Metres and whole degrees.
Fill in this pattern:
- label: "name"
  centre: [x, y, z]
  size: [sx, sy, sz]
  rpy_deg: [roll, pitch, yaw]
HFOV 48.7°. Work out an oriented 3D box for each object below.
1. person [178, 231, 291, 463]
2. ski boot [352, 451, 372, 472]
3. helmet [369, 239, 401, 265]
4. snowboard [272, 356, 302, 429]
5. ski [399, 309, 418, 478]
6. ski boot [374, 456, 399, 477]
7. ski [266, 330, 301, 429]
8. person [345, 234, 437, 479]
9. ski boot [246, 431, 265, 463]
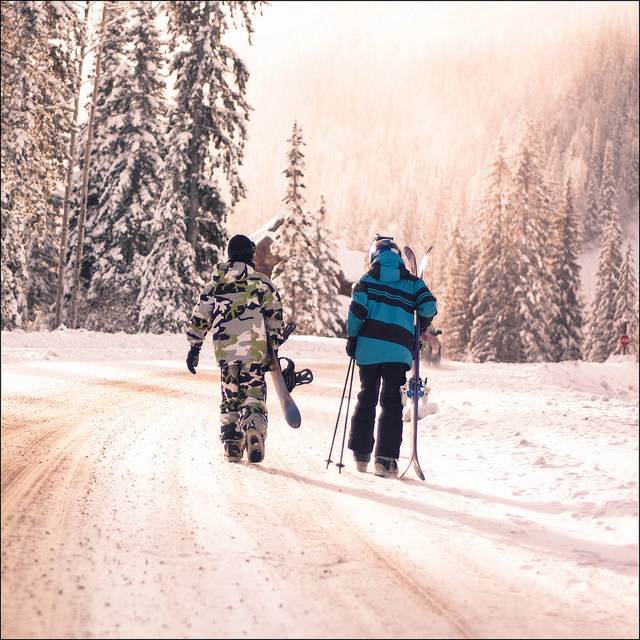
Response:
- label: "person"
  centre: [-0.797, 0.240, 7.052]
  size: [0.978, 2.299, 0.754]
  rpy_deg: [2, -2, -4]
- label: "ski boot"
  centre: [0.414, 1.436, 7.227]
  size: [0.168, 0.189, 0.193]
  rpy_deg: [2, -2, 2]
- label: "helmet"
  centre: [0.682, -0.739, 7.571]
  size: [0.340, 0.287, 0.339]
  rpy_deg: [2, -2, 5]
- label: "snowboard"
  centre: [-0.313, 0.713, 6.997]
  size: [0.250, 0.670, 0.711]
  rpy_deg: [3, -2, -16]
- label: "ski"
  centre: [0.990, 0.608, 7.743]
  size: [0.253, 0.314, 1.980]
  rpy_deg: [-3, -39, 6]
- label: "ski boot"
  centre: [0.664, 1.446, 7.068]
  size: [0.278, 0.188, 0.114]
  rpy_deg: [4, -2, -25]
- label: "ski"
  centre: [-0.436, 0.454, 7.207]
  size: [0.184, 1.552, 0.183]
  rpy_deg: [-8, -43, -12]
- label: "person"
  centre: [0.676, 0.331, 7.235]
  size: [0.829, 2.446, 0.591]
  rpy_deg: [2, -2, 3]
- label: "ski boot"
  centre: [-0.620, 1.184, 6.707]
  size: [0.126, 0.322, 0.181]
  rpy_deg: [-1, -8, 0]
